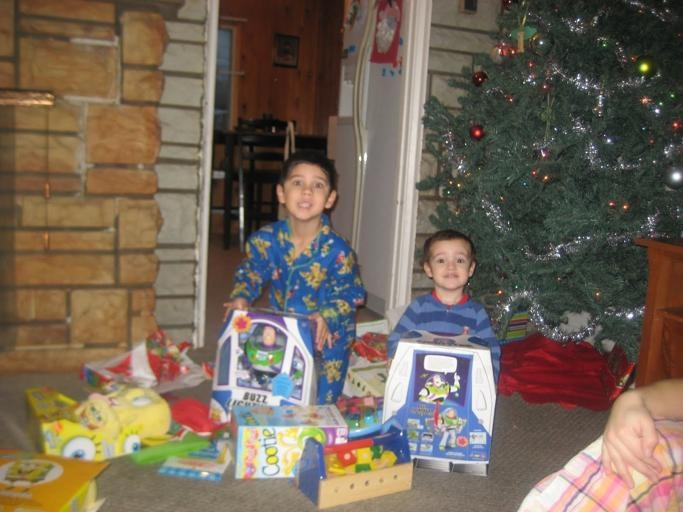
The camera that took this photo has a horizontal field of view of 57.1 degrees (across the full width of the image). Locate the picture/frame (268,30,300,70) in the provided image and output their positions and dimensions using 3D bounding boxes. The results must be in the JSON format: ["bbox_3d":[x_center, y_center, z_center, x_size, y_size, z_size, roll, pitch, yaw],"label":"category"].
[{"bbox_3d":[-0.841,-2.935,8.903,0.568,0.595,0.067,-2,14,-23],"label":"picture/frame"}]
